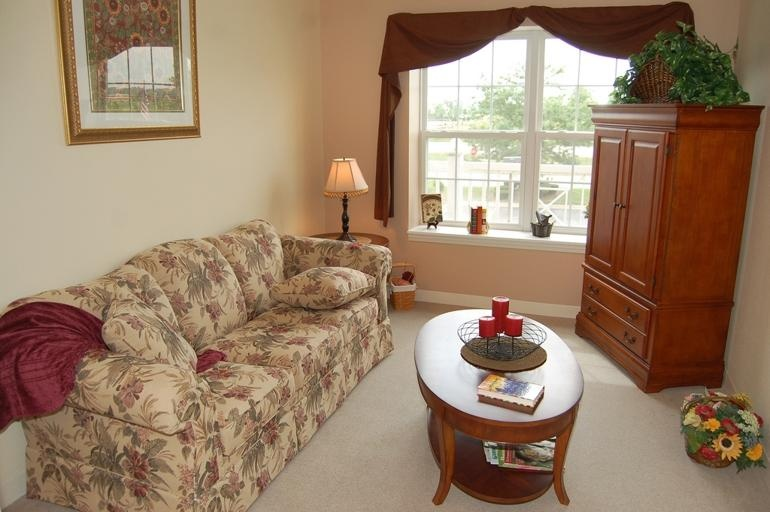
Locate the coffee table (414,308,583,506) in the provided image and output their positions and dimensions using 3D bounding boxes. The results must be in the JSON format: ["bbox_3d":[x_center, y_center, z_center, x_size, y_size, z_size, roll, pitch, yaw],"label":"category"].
[{"bbox_3d":[0.657,1.007,3.205,0.835,0.616,1.218,-1,22,2],"label":"coffee table"}]

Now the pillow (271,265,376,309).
[{"bbox_3d":[-0.494,0.142,3.953,0.405,0.182,0.414,13,24,42],"label":"pillow"}]

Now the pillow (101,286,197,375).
[{"bbox_3d":[-1.267,0.406,2.886,0.434,0.134,0.410,32,27,-49],"label":"pillow"}]

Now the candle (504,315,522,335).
[{"bbox_3d":[0.780,0.421,3.355,0.108,0.125,0.109,0,8,-4],"label":"candle"}]

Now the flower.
[{"bbox_3d":[2.091,1.078,3.358,0.477,0.382,0.343,7,18,26],"label":"flower"}]

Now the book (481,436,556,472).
[{"bbox_3d":[0.803,1.175,3.209,0.277,0.069,0.284,1,4,20],"label":"book"}]

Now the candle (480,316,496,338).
[{"bbox_3d":[0.626,0.435,3.373,0.110,0.126,0.112,-1,8,-5],"label":"candle"}]

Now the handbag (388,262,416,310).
[{"bbox_3d":[0.232,0.288,5.427,0.252,0.403,0.386,-17,-6,-22],"label":"handbag"}]

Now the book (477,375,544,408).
[{"bbox_3d":[0.678,0.739,2.960,0.333,0.077,0.203,7,17,25],"label":"book"}]

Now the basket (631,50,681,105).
[{"bbox_3d":[1.908,-1.279,3.913,0.111,0.311,0.344,-4,16,-11],"label":"basket"}]

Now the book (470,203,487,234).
[{"bbox_3d":[0.905,-0.353,5.260,0.177,0.253,0.145,-1,16,-1],"label":"book"}]
